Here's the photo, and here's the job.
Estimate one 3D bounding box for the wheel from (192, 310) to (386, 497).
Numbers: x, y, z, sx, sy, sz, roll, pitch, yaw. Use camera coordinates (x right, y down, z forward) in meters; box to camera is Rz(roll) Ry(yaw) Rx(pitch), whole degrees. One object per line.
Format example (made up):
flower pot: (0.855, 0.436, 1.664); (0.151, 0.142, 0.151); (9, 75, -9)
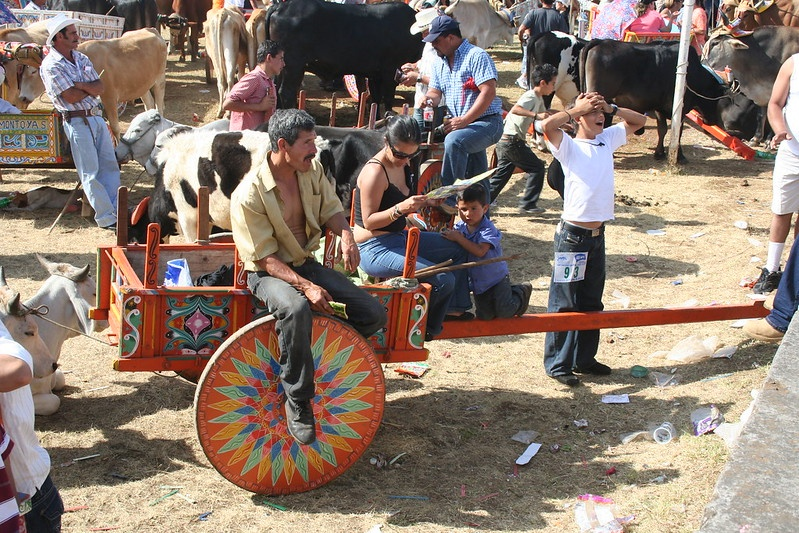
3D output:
wheel: (-1.021, 1.158, 9.183); (1.660, 1.703, 0.169); (0, 11, -12)

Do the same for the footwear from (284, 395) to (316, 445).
footwear: (-0.870, 1.329, 9.020); (0.170, 0.196, 0.488); (-4, 44, -26)

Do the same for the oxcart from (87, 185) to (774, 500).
oxcart: (-0.176, 0.555, 10.266); (5.338, 2.090, 2.274); (-4, 12, -12)

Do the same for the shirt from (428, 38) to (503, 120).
shirt: (0.750, -2.303, 12.922); (1.088, 0.959, 0.489); (-1, 8, 28)

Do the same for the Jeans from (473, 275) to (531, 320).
Jeans: (1.060, 0.308, 10.448); (0.543, 0.281, 0.340); (-17, -3, -44)

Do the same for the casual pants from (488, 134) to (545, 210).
casual pants: (1.506, -1.293, 14.086); (0.999, 0.967, 0.467); (1, 7, 15)

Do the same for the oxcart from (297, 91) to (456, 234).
oxcart: (-0.243, -1.069, 12.273); (1.771, 1.348, 1.075); (-2, 13, -14)

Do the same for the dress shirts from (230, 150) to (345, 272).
dress shirts: (-1.031, -0.495, 9.382); (1.043, 0.925, 0.504); (-16, 11, -35)

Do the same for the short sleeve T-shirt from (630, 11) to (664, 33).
short sleeve T-shirt: (4.611, -4.498, 19.148); (0.535, 0.470, 0.411); (19, 56, 30)

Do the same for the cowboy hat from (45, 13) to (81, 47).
cowboy hat: (-4.257, -2.925, 12.908); (0.327, 0.353, 0.595); (-5, 18, -19)

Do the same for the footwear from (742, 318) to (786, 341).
footwear: (3.755, 0.657, 10.636); (0.375, 0.177, 0.177); (8, 18, 11)

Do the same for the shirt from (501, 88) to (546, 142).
shirt: (1.578, -2.062, 13.902); (0.583, 0.406, 0.680); (21, -1, -1)
